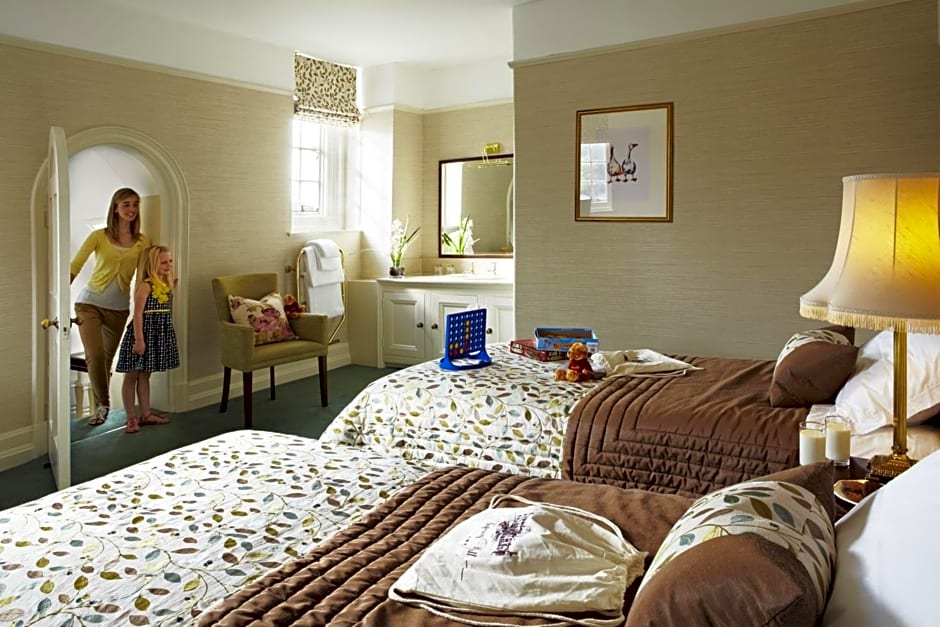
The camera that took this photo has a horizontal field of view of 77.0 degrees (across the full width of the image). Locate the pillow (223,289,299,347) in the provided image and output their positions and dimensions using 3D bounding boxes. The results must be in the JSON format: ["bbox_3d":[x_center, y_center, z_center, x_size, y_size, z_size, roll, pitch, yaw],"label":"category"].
[{"bbox_3d":[-1.805,0.051,5.101,0.245,0.405,0.527,8,11,29],"label":"pillow"}]

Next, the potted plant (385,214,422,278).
[{"bbox_3d":[-0.745,-0.792,6.608,0.195,0.516,0.500,1,9,19],"label":"potted plant"}]

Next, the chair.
[{"bbox_3d":[-1.799,0.261,5.168,0.761,1.085,0.883,9,11,36],"label":"chair"}]

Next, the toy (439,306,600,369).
[{"bbox_3d":[0.283,0.180,3.785,0.727,0.232,0.465,-2,2,11],"label":"toy"}]

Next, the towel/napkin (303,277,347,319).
[{"bbox_3d":[-1.473,-0.165,5.885,0.085,0.408,0.467,4,4,38],"label":"towel/napkin"}]

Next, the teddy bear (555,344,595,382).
[{"bbox_3d":[0.615,0.287,3.468,0.184,0.224,0.216,-4,0,-31],"label":"teddy bear"}]

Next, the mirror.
[{"bbox_3d":[0.042,-1.163,6.490,0.926,1.098,0.099,3,11,29],"label":"mirror"}]

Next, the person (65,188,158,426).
[{"bbox_3d":[-2.772,-0.032,4.627,0.564,1.853,0.422,-8,11,-31],"label":"person"}]

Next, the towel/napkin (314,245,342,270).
[{"bbox_3d":[-1.428,-0.566,5.925,0.116,0.239,0.263,-10,0,37],"label":"towel/napkin"}]

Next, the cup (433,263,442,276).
[{"bbox_3d":[-0.356,-0.505,6.679,0.085,0.115,0.258,-2,8,-3],"label":"cup"}]

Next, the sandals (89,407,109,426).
[{"bbox_3d":[-2.996,0.825,4.752,0.101,0.077,0.208,1,0,-16],"label":"sandals"}]

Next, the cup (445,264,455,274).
[{"bbox_3d":[-0.236,-0.502,6.653,0.102,0.101,0.085,1,9,18],"label":"cup"}]

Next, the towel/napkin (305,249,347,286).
[{"bbox_3d":[-1.471,-0.462,5.898,0.114,0.329,0.367,-3,7,45],"label":"towel/napkin"}]

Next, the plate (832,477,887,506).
[{"bbox_3d":[1.272,0.579,1.941,0.163,0.030,0.152,-10,8,-10],"label":"plate"}]
